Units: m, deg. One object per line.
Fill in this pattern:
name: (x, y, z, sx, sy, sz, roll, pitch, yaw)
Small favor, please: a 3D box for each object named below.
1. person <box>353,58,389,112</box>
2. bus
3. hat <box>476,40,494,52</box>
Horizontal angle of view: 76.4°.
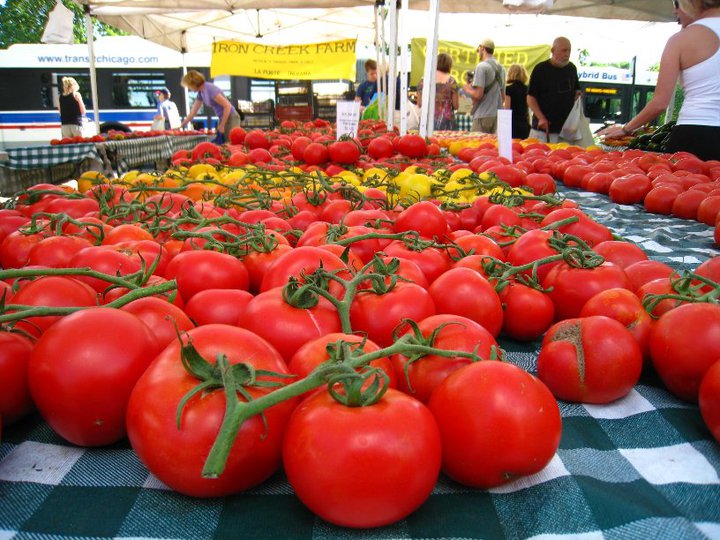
person: (0.207, -3.111, 8.672, 0.658, 1.666, 0.423, 0, -3, 7)
bus: (6.774, -4.174, 11.281, 0.810, 1.287, 2.437, -34, 29, -22)
hat: (1.820, -3.207, 6.529, 0.189, 0.162, 0.306, 4, 24, 13)
